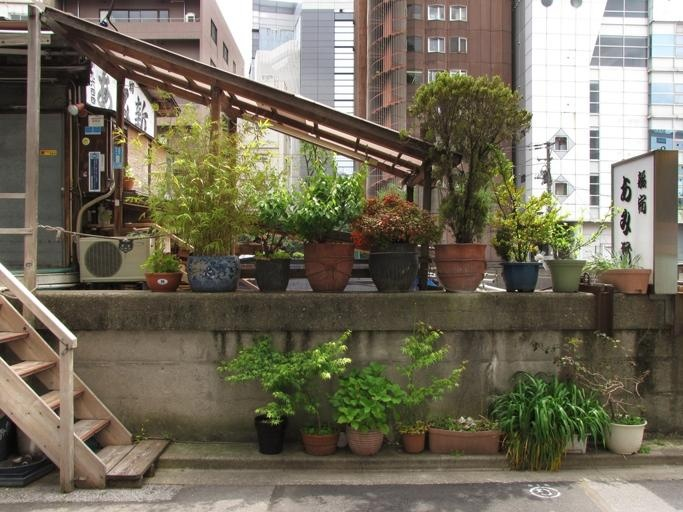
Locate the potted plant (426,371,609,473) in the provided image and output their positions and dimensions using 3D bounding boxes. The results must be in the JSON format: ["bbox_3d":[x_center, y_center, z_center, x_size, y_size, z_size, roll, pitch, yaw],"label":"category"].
[{"bbox_3d":[3.665,3.027,18.260,1.986,1.575,0.703,1,5,3],"label":"potted plant"}]

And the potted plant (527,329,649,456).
[{"bbox_3d":[4.754,2.707,19.147,2.047,2.237,1.883,-3,-13,24],"label":"potted plant"}]

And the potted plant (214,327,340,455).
[{"bbox_3d":[-1.147,2.382,18.856,2.304,2.093,1.906,0,-6,-9],"label":"potted plant"}]

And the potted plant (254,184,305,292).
[{"bbox_3d":[-1.361,-0.265,19.472,0.810,2.027,1.453,7,-7,-17],"label":"potted plant"}]

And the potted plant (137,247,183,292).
[{"bbox_3d":[-3.404,0.299,19.186,0.768,0.872,0.808,1,-5,-12],"label":"potted plant"}]

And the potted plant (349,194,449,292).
[{"bbox_3d":[0.975,-0.252,19.481,1.734,2.011,1.704,-1,-4,0],"label":"potted plant"}]

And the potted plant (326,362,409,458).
[{"bbox_3d":[0.488,2.849,18.835,1.424,1.825,1.457,1,-4,-4],"label":"potted plant"}]

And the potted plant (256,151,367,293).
[{"bbox_3d":[-0.556,-0.558,19.975,2.229,3.531,2.208,0,-6,-6],"label":"potted plant"}]
